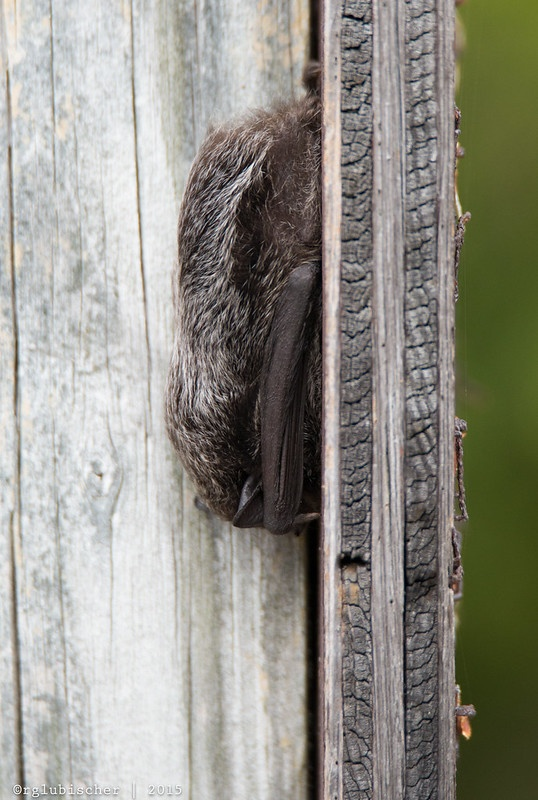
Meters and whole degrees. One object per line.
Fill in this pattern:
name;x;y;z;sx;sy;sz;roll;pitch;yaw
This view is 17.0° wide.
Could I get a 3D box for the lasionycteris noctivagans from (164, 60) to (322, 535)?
lasionycteris noctivagans;-0.042;-0.204;3.571;0.174;0.829;0.484;-3;16;-15
